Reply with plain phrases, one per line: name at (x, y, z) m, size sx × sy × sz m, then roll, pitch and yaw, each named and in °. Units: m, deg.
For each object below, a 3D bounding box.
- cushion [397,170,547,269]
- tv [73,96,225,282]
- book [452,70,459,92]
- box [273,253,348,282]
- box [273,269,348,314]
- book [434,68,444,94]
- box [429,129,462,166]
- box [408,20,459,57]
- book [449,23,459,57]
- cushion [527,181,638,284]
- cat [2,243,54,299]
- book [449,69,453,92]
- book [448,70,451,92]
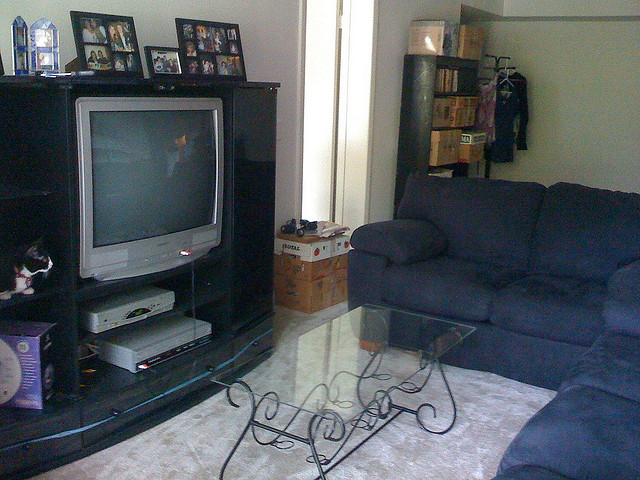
cushion at (1.022, -0.157, 3.329) m, size 1.066 × 0.594 × 0.260 m, roll 12°, pitch -4°, yaw 34°
tv at (-0.903, -0.270, 2.453) m, size 0.400 × 0.827 × 0.894 m, roll 13°, pitch 17°, yaw 25°
book at (1.488, -1.769, 5.613) m, size 0.054 × 0.188 × 0.221 m, roll 7°, pitch 12°, yaw 20°
box at (-0.118, 0.197, 3.755) m, size 0.320 × 0.100 × 0.317 m, roll 6°, pitch 12°, yaw 29°
box at (-0.075, 0.288, 3.793) m, size 0.372 × 0.163 × 0.498 m, roll 8°, pitch 14°, yaw 36°
book at (1.225, -1.657, 5.246) m, size 0.074 × 0.248 × 0.341 m, roll 4°, pitch 19°, yaw 19°
box at (1.344, -1.019, 5.507) m, size 0.309 × 0.303 × 0.515 m, roll 6°, pitch 15°, yaw 28°
box at (1.229, -2.102, 5.216) m, size 0.361 × 0.377 × 0.652 m, roll 15°, pitch 27°, yaw 34°
book at (1.392, -2.084, 5.278) m, size 0.042 × 0.323 × 0.333 m, roll 5°, pitch 20°, yaw 22°
cushion at (1.562, -0.057, 3.014) m, size 0.673 × 0.574 × 0.172 m, roll -4°, pitch -14°, yaw 31°
cat at (-1.159, 0.121, 2.011) m, size 0.191 × 0.169 × 0.115 m, roll -17°, pitch 24°, yaw -38°
book at (1.422, -1.744, 5.528) m, size 0.021 × 0.223 × 0.102 m, roll 6°, pitch 21°, yaw 24°
book at (1.398, -1.726, 5.493) m, size 0.022 × 0.221 × 0.079 m, roll 5°, pitch 21°, yaw 22°
